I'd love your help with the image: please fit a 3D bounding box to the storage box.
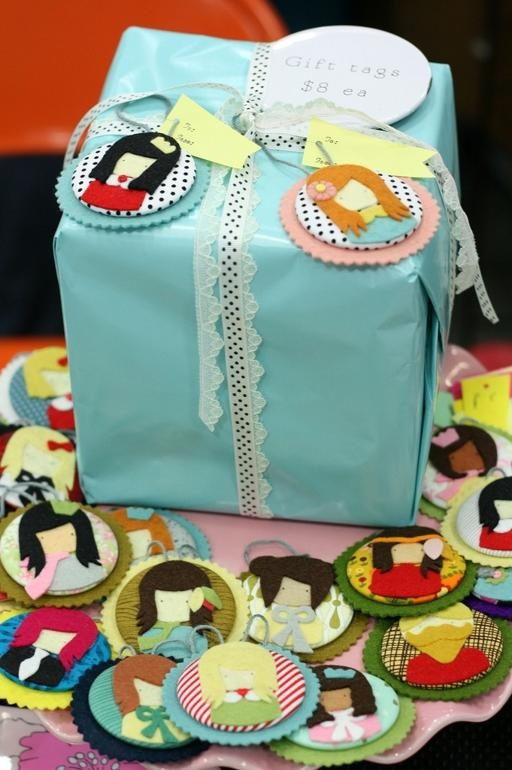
[{"bbox_3d":[-0.001,-0.100,0.998,0.559,0.462,0.490,4,44,3],"label":"storage box"}]
